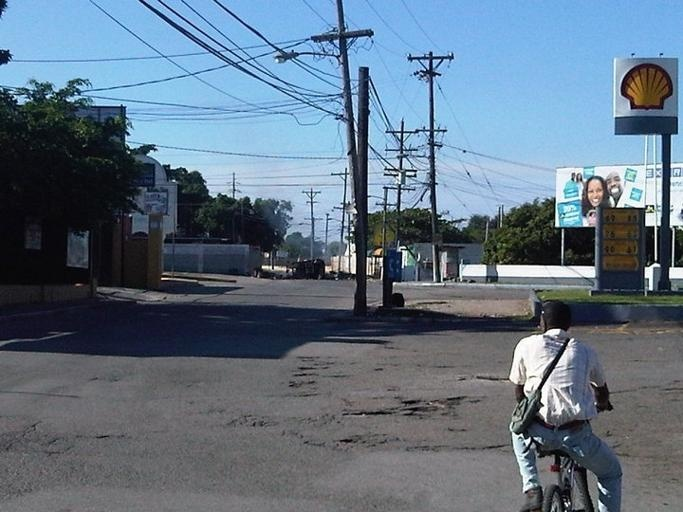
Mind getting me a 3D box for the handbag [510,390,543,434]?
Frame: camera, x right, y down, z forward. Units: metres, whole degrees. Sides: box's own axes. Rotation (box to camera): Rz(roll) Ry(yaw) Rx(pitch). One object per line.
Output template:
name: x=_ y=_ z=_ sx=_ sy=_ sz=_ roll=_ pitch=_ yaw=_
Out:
handbag: x=1.792 y=1.528 z=8.410 sx=0.185 sy=0.453 sz=0.286 roll=-2 pitch=4 yaw=-37
